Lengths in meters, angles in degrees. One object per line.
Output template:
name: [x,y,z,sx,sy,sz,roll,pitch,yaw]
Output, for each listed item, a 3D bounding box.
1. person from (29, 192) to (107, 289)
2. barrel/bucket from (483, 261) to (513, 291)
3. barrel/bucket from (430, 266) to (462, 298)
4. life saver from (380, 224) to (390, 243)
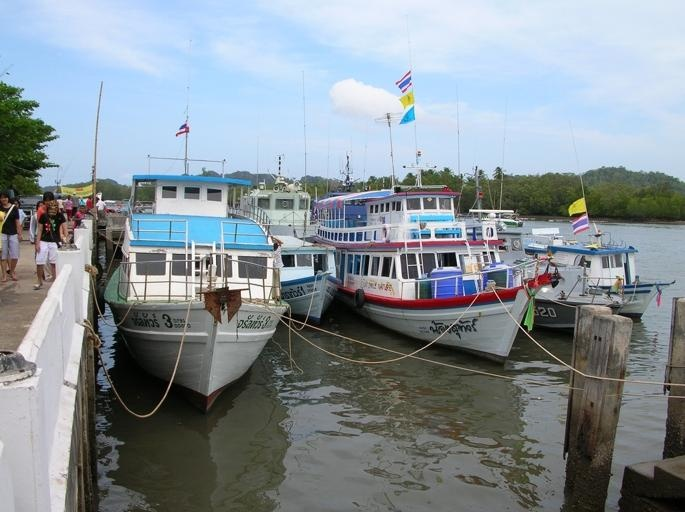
person: [-7.013,-0.349,12.990,0.780,2.194,0.941,-2,13,-17]
barrel/bucket: [5.218,0.696,18.230,1.324,0.698,0.871,1,8,16]
barrel/bucket: [3.500,0.932,18.383,1.130,0.846,1.013,-2,4,3]
life saver: [1.618,-0.801,20.065,0.192,0.522,0.437,6,1,-37]
